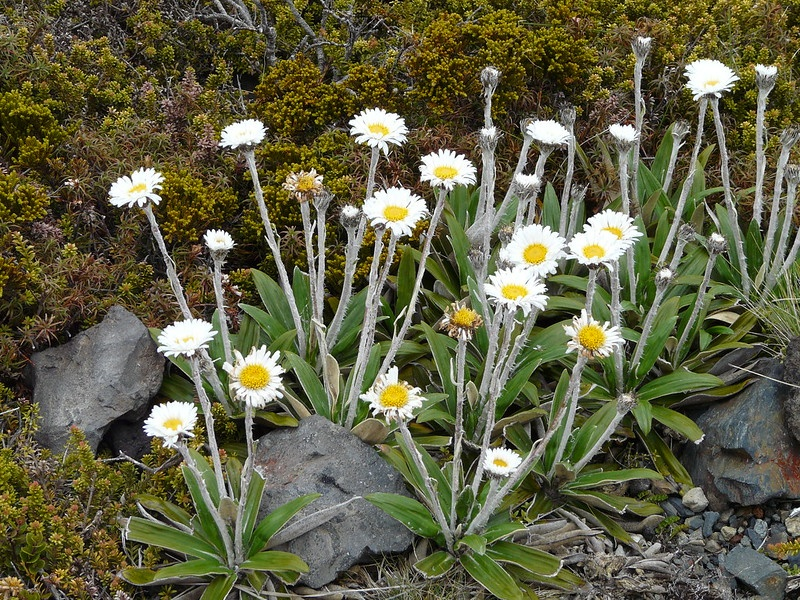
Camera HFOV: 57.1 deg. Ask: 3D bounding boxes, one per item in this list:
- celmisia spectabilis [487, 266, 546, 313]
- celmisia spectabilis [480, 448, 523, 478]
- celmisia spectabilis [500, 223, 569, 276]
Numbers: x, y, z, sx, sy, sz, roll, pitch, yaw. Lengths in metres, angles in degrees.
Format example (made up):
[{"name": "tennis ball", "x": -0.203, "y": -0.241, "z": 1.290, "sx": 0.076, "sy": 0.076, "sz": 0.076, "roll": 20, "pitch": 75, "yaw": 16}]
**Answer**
[{"name": "celmisia spectabilis", "x": 0.551, "y": -0.033, "z": 3.486, "sx": 0.257, "sy": 0.140, "sz": 0.256, "roll": 6, "pitch": 35, "yaw": 21}, {"name": "celmisia spectabilis", "x": 0.509, "y": 0.829, "z": 3.638, "sx": 0.155, "sy": 0.071, "sz": 0.166, "roll": -7, "pitch": 50, "yaw": 3}, {"name": "celmisia spectabilis", "x": 0.669, "y": -0.239, "z": 3.758, "sx": 0.320, "sy": 0.242, "sz": 0.332, "roll": -3, "pitch": 33, "yaw": 8}]
